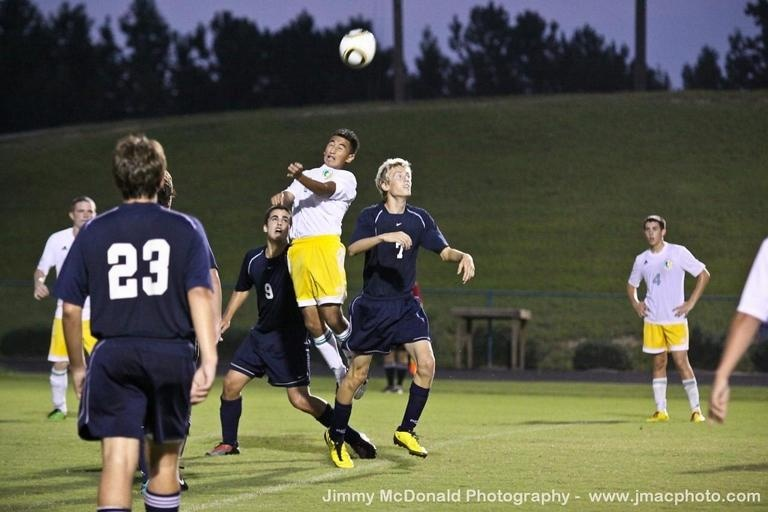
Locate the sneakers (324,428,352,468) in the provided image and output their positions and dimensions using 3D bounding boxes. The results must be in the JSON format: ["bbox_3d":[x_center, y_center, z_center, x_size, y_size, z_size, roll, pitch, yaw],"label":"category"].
[{"bbox_3d":[-0.700,2.866,19.235,0.242,0.679,0.265,-19,-19,-26],"label":"sneakers"}]

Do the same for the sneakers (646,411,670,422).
[{"bbox_3d":[4.527,2.671,21.725,0.315,0.144,0.181,1,-5,8],"label":"sneakers"}]

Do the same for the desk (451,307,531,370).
[{"bbox_3d":[2.291,1.721,28.201,1.333,1.390,1.399,1,-3,11],"label":"desk"}]

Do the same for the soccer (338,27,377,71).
[{"bbox_3d":[-0.411,-3.348,21.334,0.527,0.646,0.635,40,43,25],"label":"soccer"}]

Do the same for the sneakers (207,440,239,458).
[{"bbox_3d":[-2.404,2.894,19.673,0.390,0.154,0.211,4,-11,-12],"label":"sneakers"}]

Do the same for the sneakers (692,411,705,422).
[{"bbox_3d":[5.180,2.639,21.657,0.230,0.201,0.284,-1,4,14],"label":"sneakers"}]

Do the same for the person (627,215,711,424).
[{"bbox_3d":[4.687,1.044,21.760,1.247,3.382,0.750,-1,4,11],"label":"person"}]
